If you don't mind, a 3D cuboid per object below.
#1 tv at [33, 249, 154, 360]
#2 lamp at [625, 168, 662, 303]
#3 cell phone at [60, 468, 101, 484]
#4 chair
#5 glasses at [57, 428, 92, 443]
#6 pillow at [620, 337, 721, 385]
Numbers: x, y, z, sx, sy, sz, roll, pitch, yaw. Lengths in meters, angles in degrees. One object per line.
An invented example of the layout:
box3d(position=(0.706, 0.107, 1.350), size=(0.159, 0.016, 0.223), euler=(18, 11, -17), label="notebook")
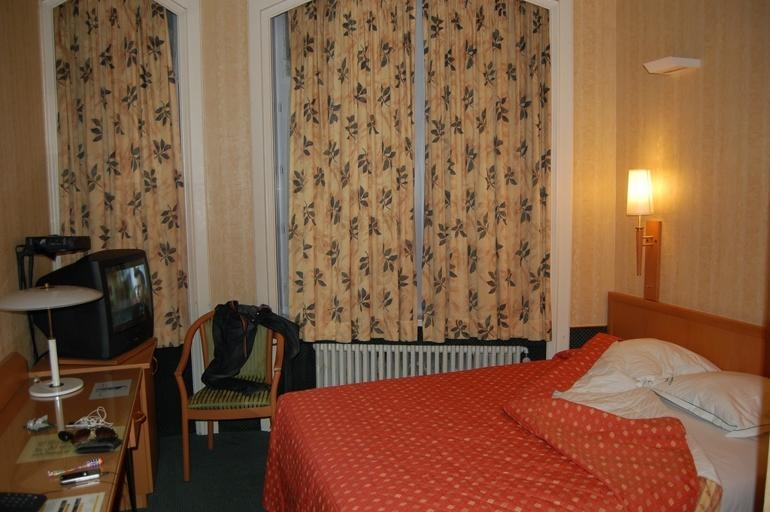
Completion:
box3d(position=(-1.960, 0.342, 4.173), size=(0.705, 0.781, 0.727), euler=(2, 7, 0), label="tv")
box3d(position=(1.925, -0.166, 4.373), size=(0.221, 0.988, 0.264), euler=(-2, 5, -6), label="lamp")
box3d(position=(-1.533, 1.104, 2.889), size=(0.090, 0.025, 0.091), euler=(-3, -1, 36), label="cell phone")
box3d(position=(-1.217, 1.078, 4.666), size=(0.883, 1.207, 0.934), euler=(2, 5, 16), label="chair")
box3d(position=(-1.696, 0.970, 3.135), size=(0.090, 0.032, 0.087), euler=(2, 22, 6), label="glasses")
box3d(position=(1.870, 0.680, 3.813), size=(0.364, 0.105, 0.333), euler=(-1, 11, -8), label="pillow")
